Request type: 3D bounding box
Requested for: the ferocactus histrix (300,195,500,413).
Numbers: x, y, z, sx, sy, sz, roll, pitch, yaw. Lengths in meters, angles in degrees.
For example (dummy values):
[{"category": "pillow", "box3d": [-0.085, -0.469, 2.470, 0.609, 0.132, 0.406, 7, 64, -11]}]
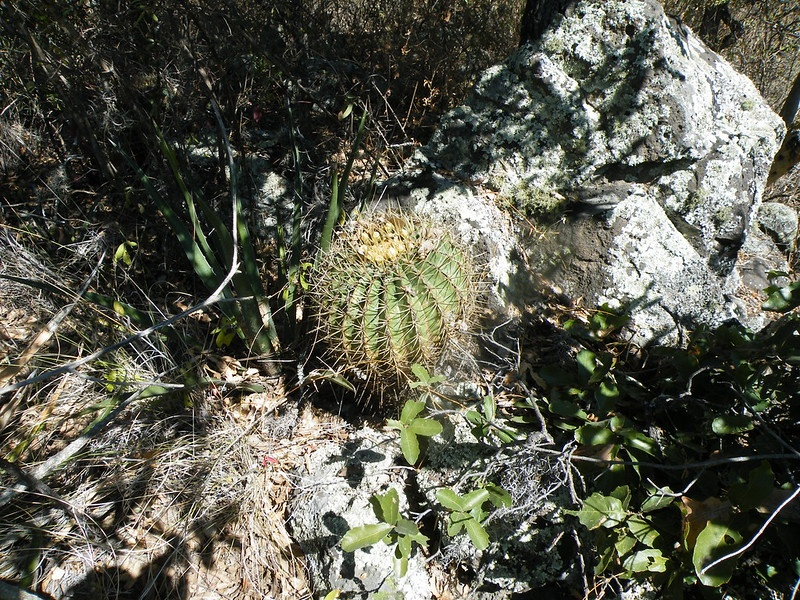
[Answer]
[{"category": "ferocactus histrix", "box3d": [-0.037, -0.010, 3.335, 0.772, 0.858, 0.860, -4, 42, -7]}]
